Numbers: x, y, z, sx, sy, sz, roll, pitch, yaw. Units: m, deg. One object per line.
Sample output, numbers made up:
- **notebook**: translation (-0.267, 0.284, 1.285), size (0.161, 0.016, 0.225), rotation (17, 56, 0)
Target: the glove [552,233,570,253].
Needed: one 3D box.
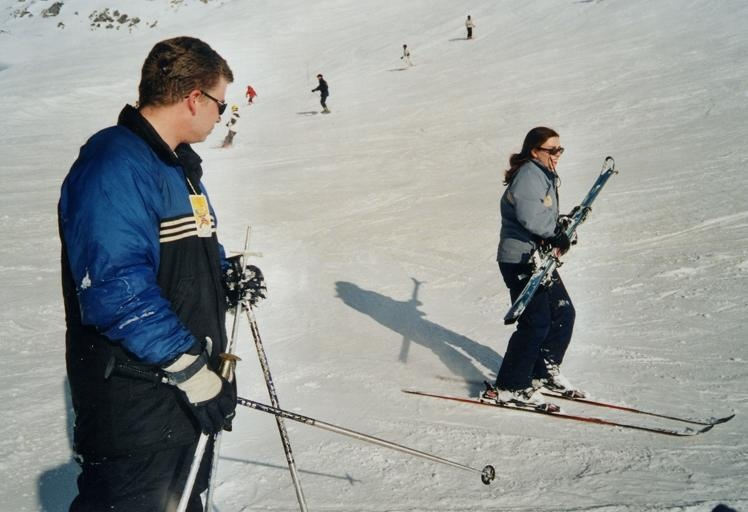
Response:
- **glove**: translation (3.369, -0.231, 17.234), size (0.342, 0.371, 0.164), rotation (-25, 25, -17)
